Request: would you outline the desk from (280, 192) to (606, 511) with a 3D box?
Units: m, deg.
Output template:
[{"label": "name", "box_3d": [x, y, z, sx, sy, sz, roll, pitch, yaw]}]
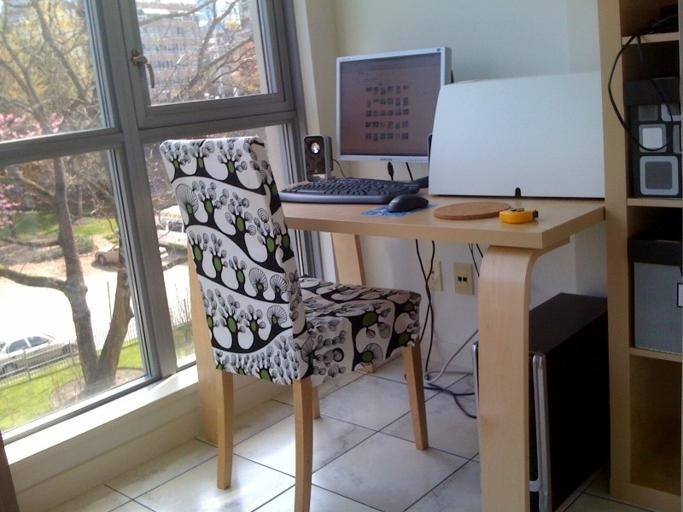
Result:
[{"label": "desk", "box_3d": [0.357, 0.155, 1.897, 1.152, 0.914, 0.795, 9, 17, 36]}]

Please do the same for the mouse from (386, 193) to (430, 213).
[{"label": "mouse", "box_3d": [0.207, -0.170, 1.701, 0.060, 0.038, 0.109, 8, 15, 39]}]

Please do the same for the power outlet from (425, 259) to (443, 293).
[{"label": "power outlet", "box_3d": [0.417, 0.089, 2.453, 0.016, 0.212, 0.108, -15, 20, -41]}]
